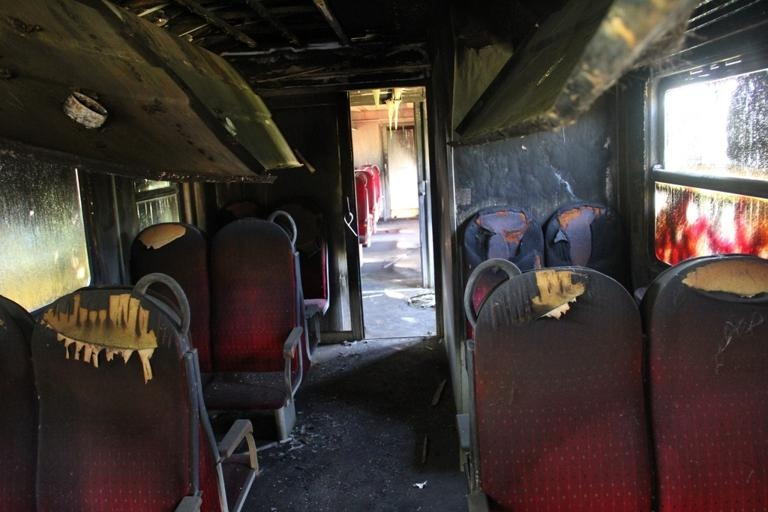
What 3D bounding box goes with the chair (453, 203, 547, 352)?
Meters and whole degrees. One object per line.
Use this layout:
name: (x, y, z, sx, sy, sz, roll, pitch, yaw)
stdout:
chair: (0.758, 0.116, 3.712, 0.667, 0.945, 0.319, 5, 0, 19)
